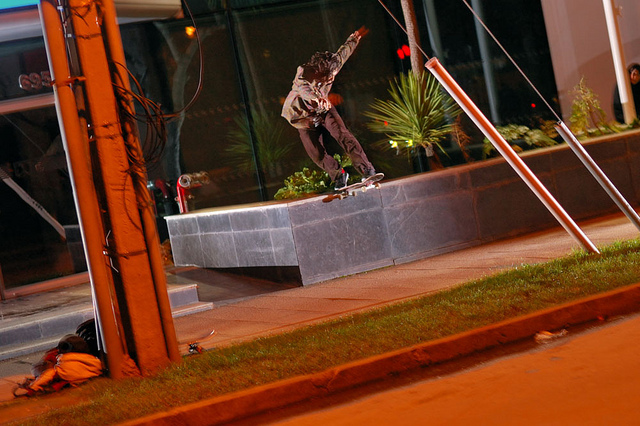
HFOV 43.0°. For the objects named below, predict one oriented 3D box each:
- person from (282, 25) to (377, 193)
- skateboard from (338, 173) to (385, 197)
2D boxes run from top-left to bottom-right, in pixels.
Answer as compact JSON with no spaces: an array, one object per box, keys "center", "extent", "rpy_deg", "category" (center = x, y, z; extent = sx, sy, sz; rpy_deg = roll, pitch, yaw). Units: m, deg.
[{"center":[0.117,-1.787,14.744],"extent":[1.538,2.738,1.156],"rpy_deg":[-8,13,1],"category":"person"},{"center":[0.874,-0.570,14.723],"extent":[1.100,0.308,0.179],"rpy_deg":[-15,38,-23],"category":"skateboard"}]
